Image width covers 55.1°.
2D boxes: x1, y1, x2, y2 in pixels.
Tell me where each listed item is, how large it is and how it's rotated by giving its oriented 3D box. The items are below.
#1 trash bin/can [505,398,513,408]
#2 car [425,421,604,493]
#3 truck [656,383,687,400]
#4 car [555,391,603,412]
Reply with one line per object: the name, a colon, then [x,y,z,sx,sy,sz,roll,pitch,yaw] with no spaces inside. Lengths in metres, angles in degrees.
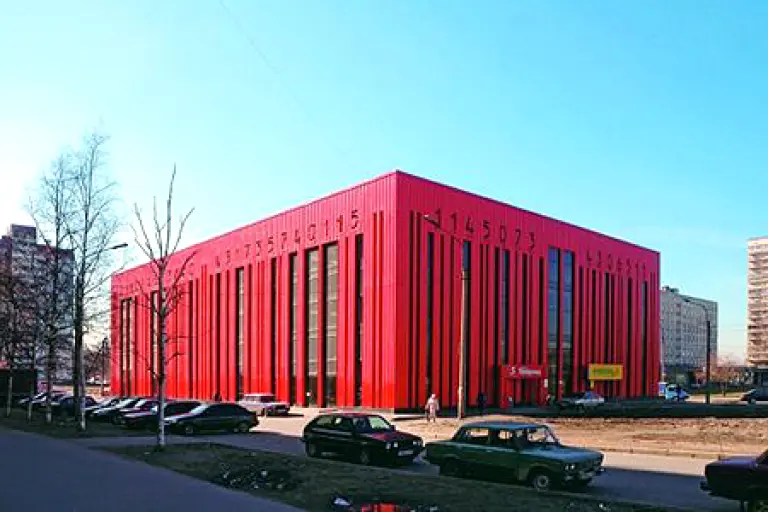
trash bin/can: [10.245,11.884,59.679,0.407,0.856,0.733,-6,-14,23]
car: [4.959,7.788,28.961,5.086,1.755,2.832,-7,-9,39]
truck: [33.443,15.638,84.631,2.622,2.224,9.483,-6,-14,22]
car: [16.588,12.147,61.416,3.573,1.071,1.617,8,-11,-39]
